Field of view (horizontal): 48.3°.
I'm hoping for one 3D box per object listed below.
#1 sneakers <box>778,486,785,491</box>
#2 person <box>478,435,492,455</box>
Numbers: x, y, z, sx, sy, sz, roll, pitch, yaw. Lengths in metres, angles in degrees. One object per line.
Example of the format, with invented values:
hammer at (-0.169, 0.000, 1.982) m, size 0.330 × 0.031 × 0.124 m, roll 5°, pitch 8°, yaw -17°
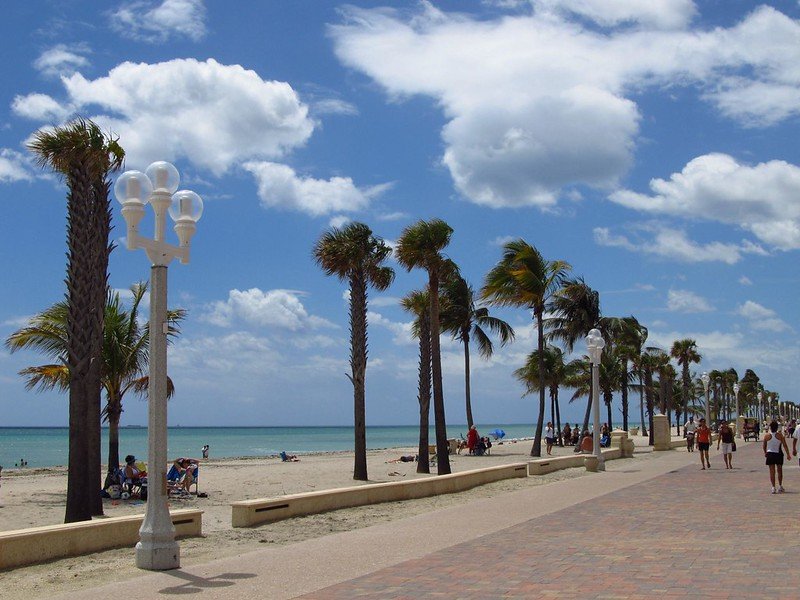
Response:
sneakers at (9.078, 4.490, 21.166) m, size 0.160 × 0.179 × 0.155 m, roll 0°, pitch -9°, yaw 18°
person at (4.142, 7.109, 43.387) m, size 0.713 × 1.068 × 0.972 m, roll -2°, pitch -8°, yaw 8°
